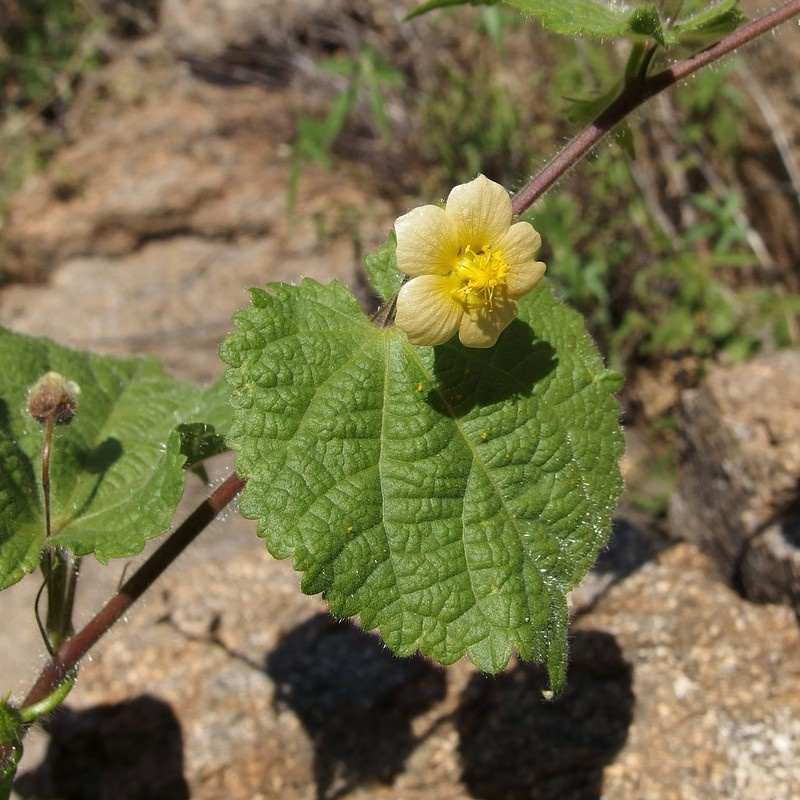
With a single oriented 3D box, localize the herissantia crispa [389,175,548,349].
[{"bbox_3d":[0.216,-0.438,3.625,0.507,0.505,0.407,-1,50,-21],"label":"herissantia crispa"}]
